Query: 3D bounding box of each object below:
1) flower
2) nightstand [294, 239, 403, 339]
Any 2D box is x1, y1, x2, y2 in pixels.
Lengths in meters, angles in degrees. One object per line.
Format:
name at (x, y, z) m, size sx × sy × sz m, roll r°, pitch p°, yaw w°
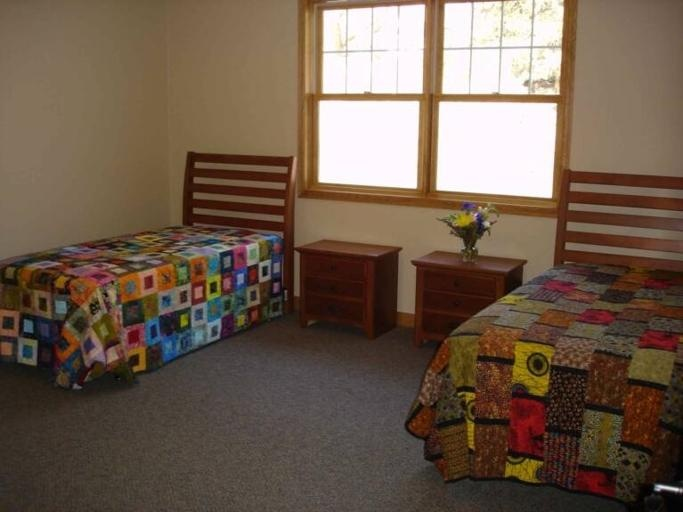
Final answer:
flower at (1.039, -0.245, 4.527) m, size 0.457 × 0.499 × 0.464 m, roll 5°, pitch 12°, yaw 36°
nightstand at (0.082, 0.194, 4.942) m, size 1.004 × 0.970 × 0.713 m, roll 3°, pitch 5°, yaw 27°
